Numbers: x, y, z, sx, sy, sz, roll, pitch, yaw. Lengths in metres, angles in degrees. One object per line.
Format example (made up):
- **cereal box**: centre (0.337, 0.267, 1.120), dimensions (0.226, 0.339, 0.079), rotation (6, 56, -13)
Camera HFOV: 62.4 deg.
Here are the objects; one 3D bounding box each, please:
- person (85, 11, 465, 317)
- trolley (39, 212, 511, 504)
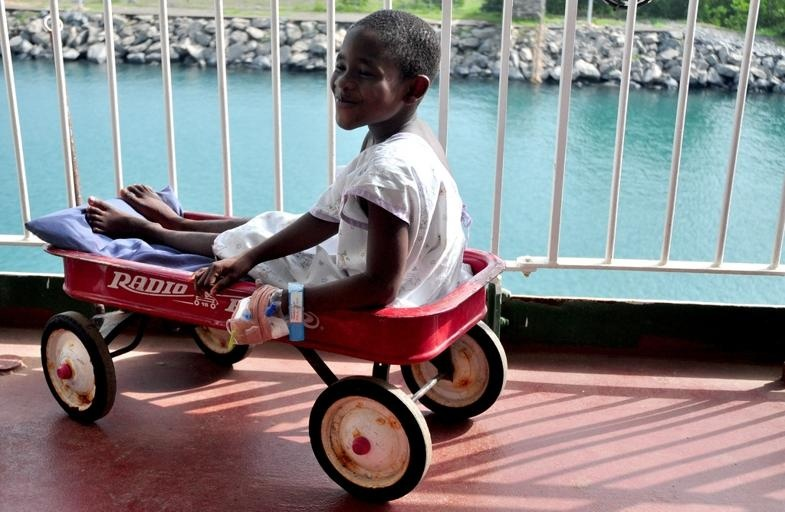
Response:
- **person**: centre (-0.492, -0.417, 3.078), dimensions (1.906, 1.260, 0.967), rotation (6, 12, 27)
- **trolley**: centre (-0.561, 0.378, 3.085), dimensions (1.986, 0.765, 1.142), rotation (8, 14, 20)
